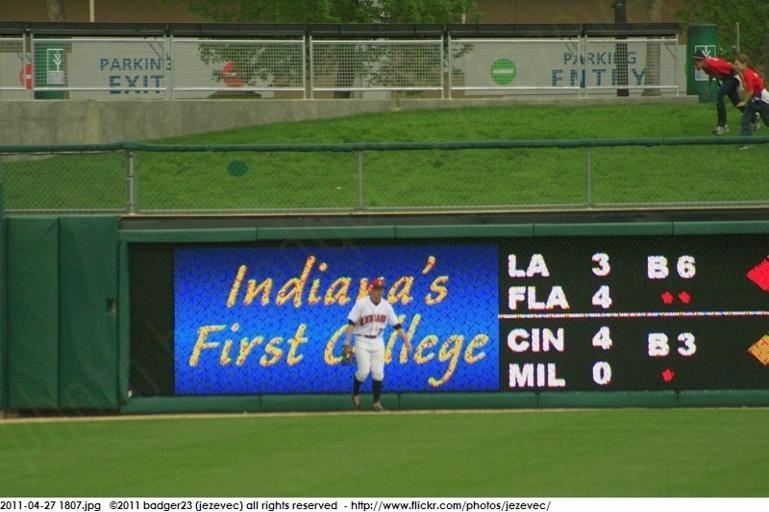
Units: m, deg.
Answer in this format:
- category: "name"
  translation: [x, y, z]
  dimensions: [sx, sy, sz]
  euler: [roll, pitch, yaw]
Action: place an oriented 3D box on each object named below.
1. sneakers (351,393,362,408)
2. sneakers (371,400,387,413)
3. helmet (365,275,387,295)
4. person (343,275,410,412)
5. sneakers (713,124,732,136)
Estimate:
- category: "sneakers"
  translation: [-0.613, 3.006, 39.954]
  dimensions: [0.156, 0.292, 0.197]
  euler: [-7, -11, -25]
- category: "sneakers"
  translation: [-0.148, 3.127, 39.937]
  dimensions: [0.363, 0.233, 0.126]
  euler: [0, 3, 2]
- category: "helmet"
  translation: [-0.152, 0.619, 39.777]
  dimensions: [0.318, 0.360, 0.482]
  euler: [-2, -40, -29]
- category: "person"
  translation: [-0.285, 1.836, 39.846]
  dimensions: [1.139, 2.737, 0.416]
  euler: [-1, 1, -1]
- category: "sneakers"
  translation: [8.246, -3.073, 46.564]
  dimensions: [0.425, 0.209, 0.176]
  euler: [-1, 11, -14]
